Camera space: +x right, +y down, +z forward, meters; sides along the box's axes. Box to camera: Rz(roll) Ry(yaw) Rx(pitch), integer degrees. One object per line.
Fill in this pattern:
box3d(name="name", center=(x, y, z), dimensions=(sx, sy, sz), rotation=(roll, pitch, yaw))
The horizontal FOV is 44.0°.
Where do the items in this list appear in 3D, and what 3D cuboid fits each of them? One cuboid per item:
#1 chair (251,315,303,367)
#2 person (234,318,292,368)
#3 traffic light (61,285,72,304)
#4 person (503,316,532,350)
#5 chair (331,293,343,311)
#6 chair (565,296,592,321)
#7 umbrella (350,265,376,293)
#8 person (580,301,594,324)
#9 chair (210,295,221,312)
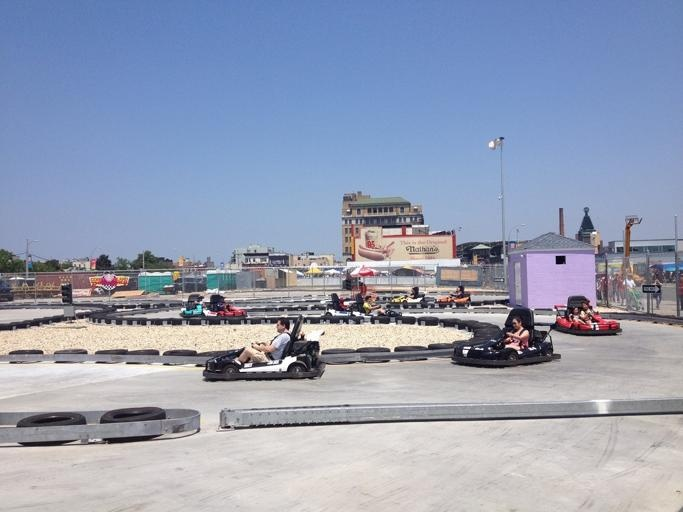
box3d(name="chair", center=(-1.259, 1.825, 16.934), dimensions=(1.595, 1.131, 0.598), rotation=(-2, 9, -6))
box3d(name="person", center=(-1.628, 1.771, 17.242), dimensions=(1.424, 0.925, 0.641), rotation=(-3, -5, 15))
box3d(name="traffic light", center=(-10.166, 1.415, 31.427), dimensions=(0.317, 0.812, 0.635), rotation=(-5, 9, -23))
box3d(name="person", center=(3.625, 1.690, 18.242), dimensions=(0.857, 0.760, 0.517), rotation=(3, 1, -25))
box3d(name="chair", center=(-0.157, 1.625, 30.455), dimensions=(0.395, 0.617, 0.970), rotation=(-1, 8, -2))
box3d(name="chair", center=(6.789, 1.461, 23.971), dimensions=(0.656, 0.704, 0.722), rotation=(-1, -8, 8))
box3d(name="umbrella", center=(1.386, 1.246, 47.245), dimensions=(1.504, 1.336, 1.742), rotation=(1, -3, -30))
box3d(name="person", center=(6.866, 1.537, 23.740), dimensions=(0.346, 0.497, 1.148), rotation=(1, 8, 16))
box3d(name="chair", center=(-4.667, 1.720, 31.571), dimensions=(0.398, 0.576, 0.743), rotation=(-2, 8, -8))
